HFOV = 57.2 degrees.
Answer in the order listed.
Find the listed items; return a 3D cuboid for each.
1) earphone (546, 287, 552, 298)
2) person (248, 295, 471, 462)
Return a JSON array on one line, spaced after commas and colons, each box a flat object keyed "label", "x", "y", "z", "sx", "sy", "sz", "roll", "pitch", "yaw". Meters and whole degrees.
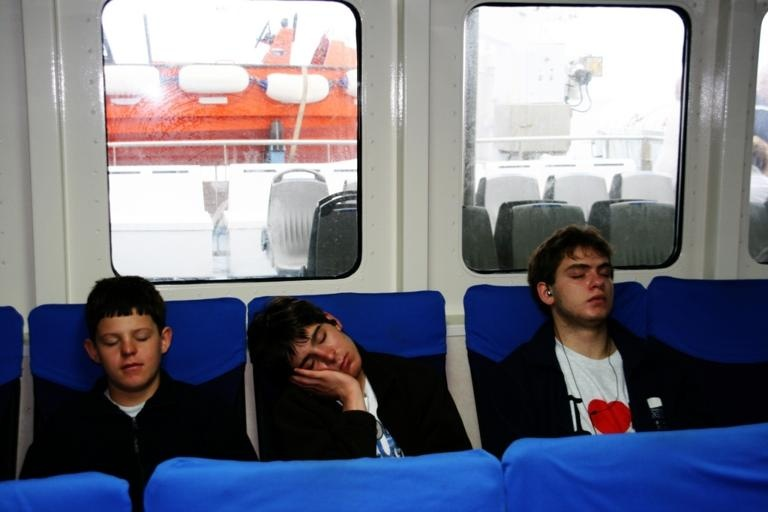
[{"label": "earphone", "x": 0.672, "y": 0.147, "z": 2.862, "sx": 0.013, "sy": 0.022, "sz": 0.028, "roll": -16, "pitch": -17, "yaw": -43}, {"label": "person", "x": -0.274, "y": 0.527, "z": 2.829, "sx": 0.623, "sy": 0.813, "sz": 0.737, "roll": 0, "pitch": -20, "yaw": -33}]
